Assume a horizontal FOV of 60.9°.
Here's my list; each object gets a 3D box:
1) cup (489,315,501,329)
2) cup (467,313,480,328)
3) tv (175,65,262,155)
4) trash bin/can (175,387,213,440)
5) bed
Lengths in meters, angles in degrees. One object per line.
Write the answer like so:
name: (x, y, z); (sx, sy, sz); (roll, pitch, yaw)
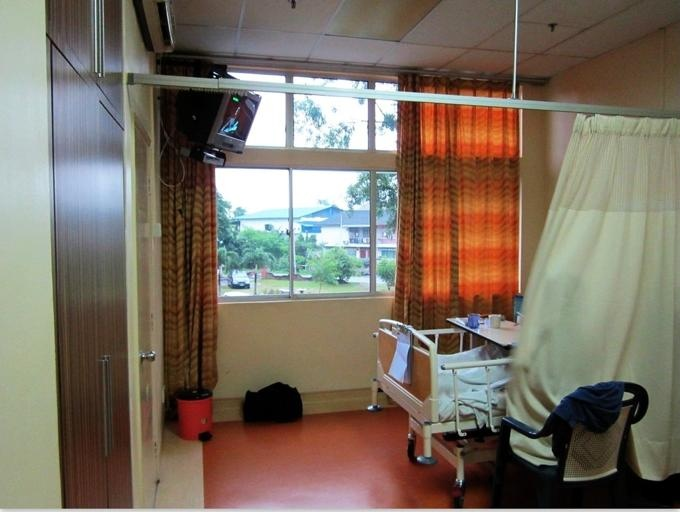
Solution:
cup: (1.305, 0.550, 4.915); (0.075, 0.105, 0.102); (1, -9, -6)
cup: (1.154, 0.565, 4.949); (0.089, 0.124, 0.115); (1, -3, -14)
tv: (-0.997, -1.136, 4.851); (0.689, 0.733, 0.685); (15, 10, 40)
trash bin/can: (-1.229, 1.331, 4.874); (0.280, 0.360, 0.319); (-1, 6, -5)
bed: (0.720, 0.985, 4.039); (1.071, 0.664, 0.920); (1, 2, -13)
